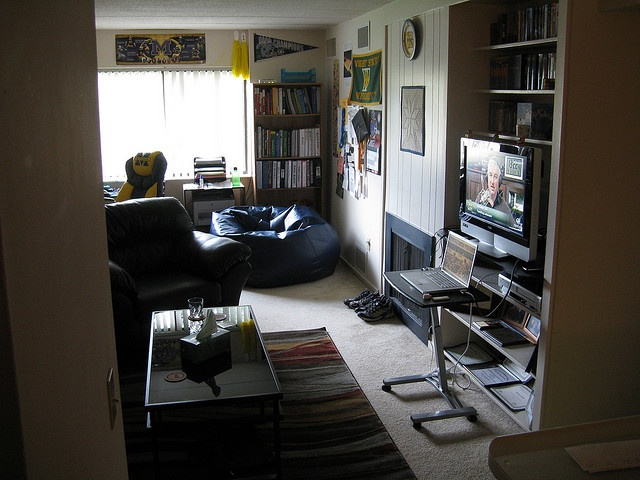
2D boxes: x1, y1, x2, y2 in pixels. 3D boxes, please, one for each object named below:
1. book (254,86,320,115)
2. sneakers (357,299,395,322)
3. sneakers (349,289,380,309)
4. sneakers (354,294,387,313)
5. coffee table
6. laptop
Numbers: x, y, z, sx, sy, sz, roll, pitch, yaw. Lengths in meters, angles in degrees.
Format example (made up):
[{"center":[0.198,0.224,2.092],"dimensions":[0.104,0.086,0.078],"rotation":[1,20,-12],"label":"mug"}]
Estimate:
[{"center":[-0.408,-1.723,6.165],"dimensions":[0.806,0.334,0.117],"rotation":[-3,14,-14],"label":"book"},{"center":[0.505,0.631,4.557],"dimensions":[0.373,0.189,0.146],"rotation":[-6,11,-18],"label":"sneakers"},{"center":[0.415,0.562,4.737],"dimensions":[0.270,0.128,0.139],"rotation":[-8,6,-7],"label":"sneakers"},{"center":[0.476,0.587,4.619],"dimensions":[0.350,0.156,0.124],"rotation":[-4,5,-12],"label":"sneakers"},{"center":[-0.598,0.696,2.741],"dimensions":[0.572,0.289,1.054],"rotation":[-4,17,-15],"label":"coffee table"},{"center":[0.753,0.188,3.186],"dimensions":[0.364,0.335,0.434],"rotation":[-4,15,-12],"label":"laptop"}]
